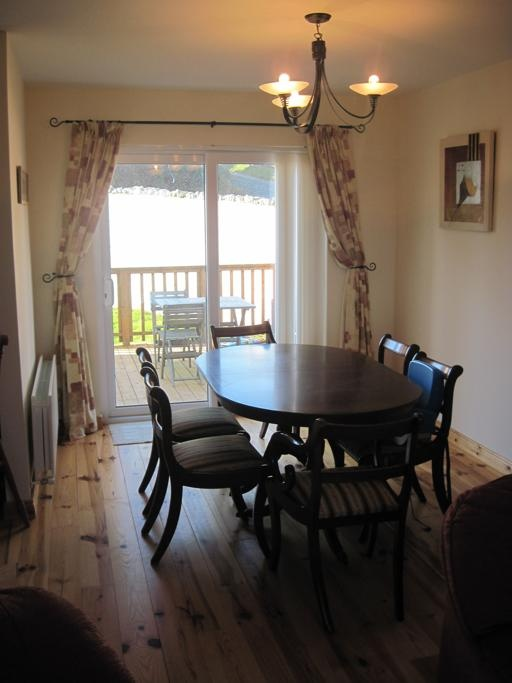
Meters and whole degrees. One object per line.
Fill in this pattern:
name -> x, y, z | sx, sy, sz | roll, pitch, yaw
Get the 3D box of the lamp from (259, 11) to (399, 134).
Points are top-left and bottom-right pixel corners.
lamp -> 0.312, -1.340, 2.506 | 0.532, 0.543, 0.663 | -5, 17, 2

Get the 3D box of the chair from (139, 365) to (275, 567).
chair -> -0.236, 0.578, 2.417 | 0.496, 0.851, 0.504 | -3, 5, -18

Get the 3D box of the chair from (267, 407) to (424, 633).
chair -> 0.369, 0.624, 2.045 | 0.467, 0.926, 0.557 | -7, 15, -20

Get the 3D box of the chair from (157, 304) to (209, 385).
chair -> -0.680, -0.030, 4.552 | 0.310, 0.736, 0.430 | 1, 14, -12

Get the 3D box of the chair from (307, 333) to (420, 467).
chair -> 0.573, 0.383, 2.639 | 0.439, 0.839, 0.480 | -4, 10, -23

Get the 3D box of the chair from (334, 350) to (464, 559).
chair -> 0.750, 0.508, 2.679 | 0.512, 0.884, 0.511 | 1, 8, 10

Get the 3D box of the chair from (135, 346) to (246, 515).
chair -> -0.308, 0.712, 2.891 | 0.505, 0.960, 0.527 | -3, 5, -3
